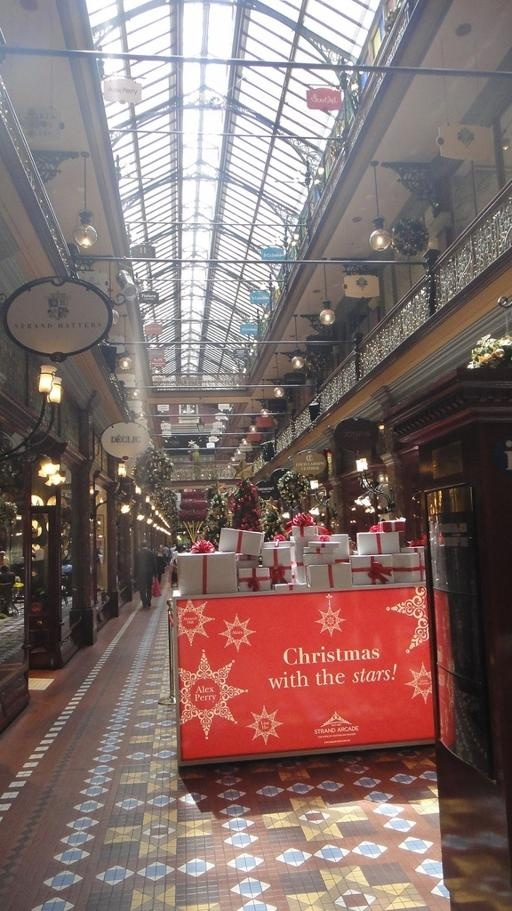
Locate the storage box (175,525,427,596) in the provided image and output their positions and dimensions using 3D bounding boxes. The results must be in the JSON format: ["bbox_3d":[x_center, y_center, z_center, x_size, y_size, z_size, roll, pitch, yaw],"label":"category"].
[{"bbox_3d":[0.309,0.739,4.009,1.728,0.487,0.612,-2,-10,-9],"label":"storage box"}]

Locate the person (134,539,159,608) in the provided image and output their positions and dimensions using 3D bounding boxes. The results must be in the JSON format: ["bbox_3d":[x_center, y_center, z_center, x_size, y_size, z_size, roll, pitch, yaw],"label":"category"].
[{"bbox_3d":[-2.802,3.035,13.986,0.417,1.630,1.040,-1,-9,-11],"label":"person"}]
